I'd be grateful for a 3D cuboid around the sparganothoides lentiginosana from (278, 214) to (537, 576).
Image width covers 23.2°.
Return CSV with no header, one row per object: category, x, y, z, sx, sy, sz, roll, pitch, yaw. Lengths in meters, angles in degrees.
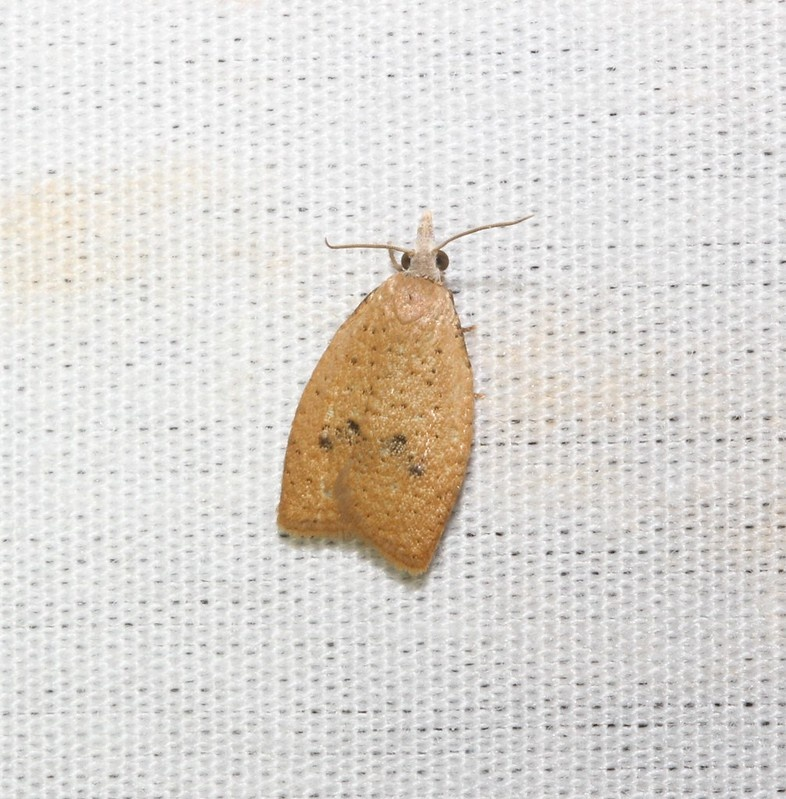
sparganothoides lentiginosana,-0.006,0.003,1.777,0.239,0.078,0.335,10,95,8
